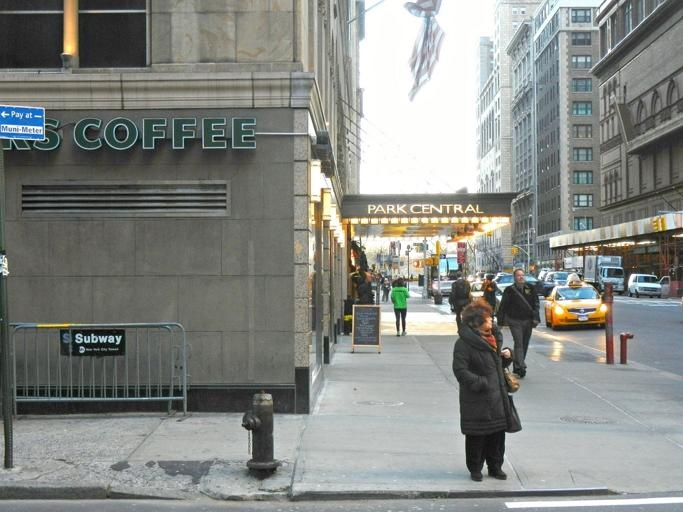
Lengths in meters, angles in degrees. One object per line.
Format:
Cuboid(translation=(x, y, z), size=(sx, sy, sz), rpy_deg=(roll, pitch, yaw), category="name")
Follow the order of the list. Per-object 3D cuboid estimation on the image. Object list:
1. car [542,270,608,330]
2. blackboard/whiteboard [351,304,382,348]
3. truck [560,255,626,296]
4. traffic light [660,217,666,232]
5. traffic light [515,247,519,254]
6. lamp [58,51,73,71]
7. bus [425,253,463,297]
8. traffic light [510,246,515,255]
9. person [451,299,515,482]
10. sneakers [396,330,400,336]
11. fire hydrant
Cuboid(translation=(7.445, 1.508, 35.065), size=(1.636, 1.494, 1.951), rpy_deg=(-2, -2, 3), category="car")
Cuboid(translation=(0.588, 1.626, 26.668), size=(0.782, 1.346, 0.891), rpy_deg=(1, 13, 5), category="blackboard/whiteboard")
Cuboid(translation=(14.355, 0.971, 61.683), size=(2.099, 2.870, 5.636), rpy_deg=(0, -4, -11), category="truck")
Cuboid(translation=(19.175, -1.980, 65.195), size=(0.311, 0.674, 0.408), rpy_deg=(-2, -2, 16), category="traffic light")
Cuboid(translation=(21.621, -0.722, 135.954), size=(0.742, 0.732, 0.189), rpy_deg=(5, -7, -34), category="traffic light")
Cuboid(translation=(-4.651, -3.282, 18.467), size=(0.241, 0.287, 0.267), rpy_deg=(-2, 5, 9), category="lamp")
Cuboid(translation=(7.327, 1.201, 78.947), size=(2.317, 3.268, 6.807), rpy_deg=(0, -5, -1), category="bus")
Cuboid(translation=(20.634, -0.691, 132.235), size=(0.761, 0.801, 0.216), rpy_deg=(0, 3, -10), category="traffic light")
Cuboid(translation=(1.923, 1.829, 15.083), size=(0.820, 2.466, 0.384), rpy_deg=(-1, -2, -27), category="person")
Cuboid(translation=(1.599, 2.192, 31.240), size=(0.104, 0.126, 0.124), rpy_deg=(0, -6, -1), category="sneakers")
Cuboid(translation=(-1.135, 2.456, 15.152), size=(0.494, 1.126, 0.286), rpy_deg=(-1, -2, -9), category="fire hydrant")
